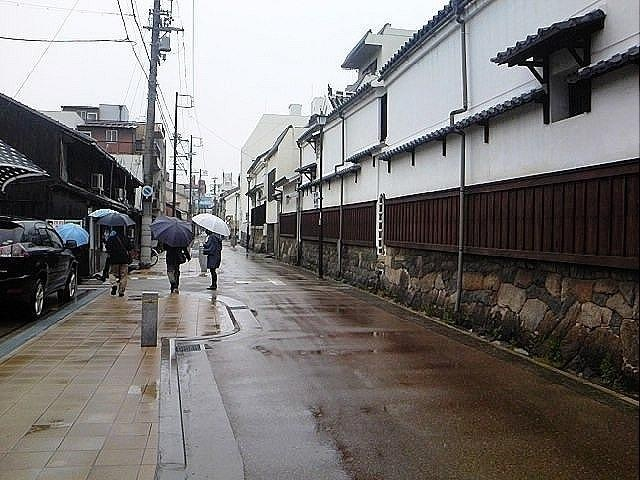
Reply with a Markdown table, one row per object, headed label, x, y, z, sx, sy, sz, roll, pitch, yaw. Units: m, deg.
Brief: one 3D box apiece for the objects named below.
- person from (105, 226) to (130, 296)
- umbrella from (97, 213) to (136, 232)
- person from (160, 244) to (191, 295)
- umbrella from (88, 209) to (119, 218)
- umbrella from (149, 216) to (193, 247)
| label | x | y | z | sx | sy | sz | roll | pitch | yaw |
| --- | --- | --- | --- | --- | --- | --- | --- | --- | --- |
| person | -5.577 | 0.639 | 14.634 | 0.598 | 1.879 | 0.906 | 0 | 4 | -23 |
| umbrella | -6.307 | -0.606 | 16.496 | 0.959 | 0.460 | 1.106 | 0 | -2 | 4 |
| person | -4.478 | 0.838 | 16.493 | 0.749 | 1.551 | 2.838 | 0 | 4 | -16 |
| umbrella | -7.726 | -0.953 | 18.665 | 0.555 | 0.227 | 0.561 | -5 | 7 | -39 |
| umbrella | -4.266 | -0.219 | 15.249 | 1.080 | 0.859 | 1.022 | 2 | 4 | 12 |
